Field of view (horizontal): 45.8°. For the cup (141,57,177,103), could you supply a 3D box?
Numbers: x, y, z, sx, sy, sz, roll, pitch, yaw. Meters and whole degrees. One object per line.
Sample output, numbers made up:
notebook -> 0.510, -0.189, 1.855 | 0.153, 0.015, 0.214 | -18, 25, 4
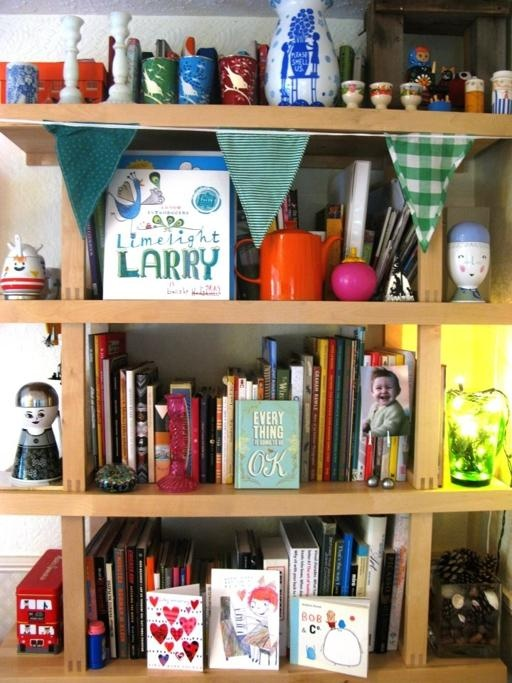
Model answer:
cup -> -0.199, -0.538, 1.264 | 0.080, 0.085, 0.081 | 3, 19, -1

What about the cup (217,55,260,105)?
cup -> -0.036, -0.555, 1.293 | 0.089, 0.096, 0.089 | 1, 23, 0

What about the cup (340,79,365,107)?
cup -> 0.192, -0.498, 1.241 | 0.059, 0.062, 0.058 | 0, 2, 0

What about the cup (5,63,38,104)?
cup -> -0.457, -0.503, 1.190 | 0.060, 0.095, 0.092 | -2, 4, -21

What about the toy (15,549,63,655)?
toy -> -0.463, 0.569, 1.306 | 0.099, 0.140, 0.300 | 0, -1, -10

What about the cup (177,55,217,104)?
cup -> -0.127, -0.555, 1.255 | 0.082, 0.074, 0.114 | -2, -37, -8

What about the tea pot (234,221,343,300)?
tea pot -> 0.058, -0.166, 1.285 | 0.222, 0.158, 0.139 | -2, 4, 2

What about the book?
book -> 0.049, 0.093, 1.456 | 0.748, 1.024, 0.242 | -1, -1, -2
